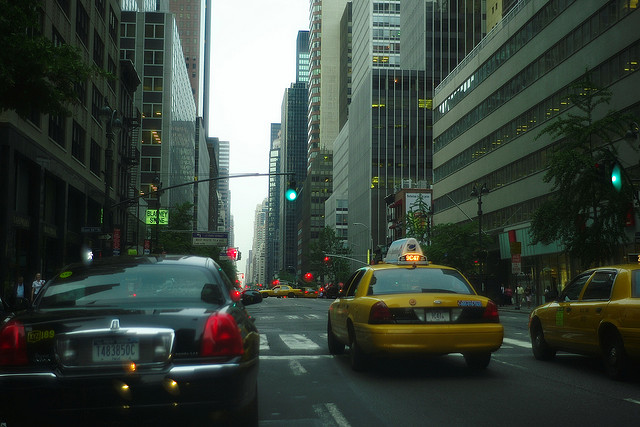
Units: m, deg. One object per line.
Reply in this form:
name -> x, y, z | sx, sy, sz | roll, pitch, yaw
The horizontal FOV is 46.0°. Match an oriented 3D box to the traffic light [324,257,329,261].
traffic light -> 0.601, 4.388, 71.300 | 0.434, 0.279, 0.580 | 1, 5, -2

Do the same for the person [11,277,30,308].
person -> -12.842, 3.402, 32.165 | 0.377, 1.434, 0.339 | 1, 19, -23

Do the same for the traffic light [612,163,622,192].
traffic light -> 6.929, -0.860, 17.551 | 0.138, 0.753, 0.610 | -2, -1, 34

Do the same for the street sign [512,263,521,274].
street sign -> 12.320, 3.379, 47.202 | 0.653, 0.686, 0.068 | 1, 7, 5

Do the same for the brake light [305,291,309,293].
brake light -> -1.588, 9.053, 87.433 | 0.222, 0.228, 0.239 | 0, -7, 15

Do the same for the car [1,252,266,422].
car -> -3.238, 2.242, 13.142 | 4.045, 2.631, 1.585 | 0, -8, 8

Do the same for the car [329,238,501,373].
car -> 2.257, 2.316, 18.130 | 3.207, 2.939, 3.226 | 3, -8, -12

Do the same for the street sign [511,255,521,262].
street sign -> 12.437, 2.832, 47.715 | 0.464, 0.501, 0.710 | 0, -8, 11

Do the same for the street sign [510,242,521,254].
street sign -> 12.688, 2.220, 48.828 | 0.626, 0.657, 0.335 | 1, -5, -1
